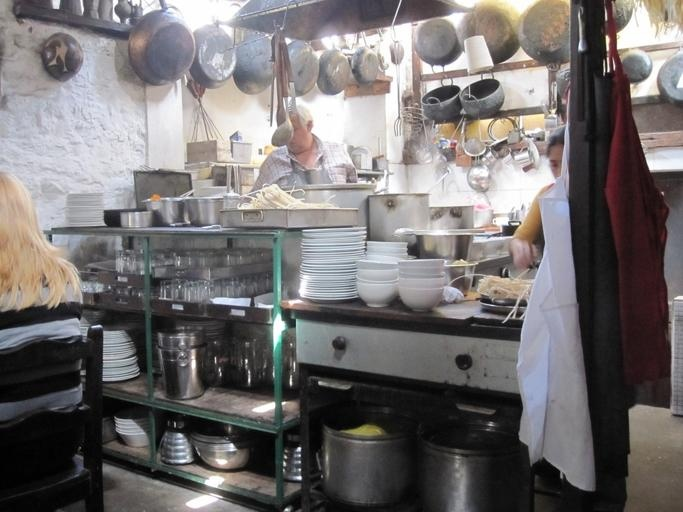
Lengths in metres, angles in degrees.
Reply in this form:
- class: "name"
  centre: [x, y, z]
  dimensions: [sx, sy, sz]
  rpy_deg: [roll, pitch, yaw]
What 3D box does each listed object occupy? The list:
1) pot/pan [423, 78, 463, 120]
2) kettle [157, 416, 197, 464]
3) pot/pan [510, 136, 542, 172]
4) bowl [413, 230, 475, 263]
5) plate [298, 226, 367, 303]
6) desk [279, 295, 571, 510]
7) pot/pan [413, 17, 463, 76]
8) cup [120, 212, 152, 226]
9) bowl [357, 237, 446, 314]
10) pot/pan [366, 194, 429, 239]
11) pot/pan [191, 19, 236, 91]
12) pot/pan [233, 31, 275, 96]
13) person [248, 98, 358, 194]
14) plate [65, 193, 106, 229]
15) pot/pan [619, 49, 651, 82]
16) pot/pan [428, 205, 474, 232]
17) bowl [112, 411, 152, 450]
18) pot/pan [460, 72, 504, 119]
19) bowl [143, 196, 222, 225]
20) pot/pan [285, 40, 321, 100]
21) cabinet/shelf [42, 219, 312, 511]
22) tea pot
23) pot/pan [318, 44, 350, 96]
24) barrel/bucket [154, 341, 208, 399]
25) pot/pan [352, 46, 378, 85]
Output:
- class: "pot/pan"
  centre: [0.992, -1.513, 6.063]
  dimensions: [0.353, 0.290, 0.450]
  rpy_deg: [-2, 39, 22]
- class: "kettle"
  centre: [-0.956, 1.084, 3.730]
  dimensions: [0.238, 0.275, 0.242]
  rpy_deg: [-1, -1, 8]
- class: "pot/pan"
  centre: [1.692, -0.956, 5.663]
  dimensions: [0.204, 0.364, 0.366]
  rpy_deg: [-17, -22, 8]
- class: "bowl"
  centre: [0.491, -0.058, 2.979]
  dimensions: [0.184, 0.093, 0.184]
  rpy_deg: [0, 0, 0]
- class: "plate"
  centre: [-0.043, 0.049, 2.929]
  dimensions: [0.325, 0.299, 0.323]
  rpy_deg: [-2, -4, 45]
- class: "desk"
  centre: [0.432, 0.439, 2.970]
  dimensions: [1.127, 1.121, 0.844]
  rpy_deg: [-1, 0, 38]
- class: "pot/pan"
  centre: [0.776, -1.753, 5.000]
  dimensions: [0.388, 0.367, 0.304]
  rpy_deg: [0, 5, 12]
- class: "cup"
  centre: [-1.277, -0.215, 3.826]
  dimensions: [0.113, 0.066, 0.115]
  rpy_deg: [-1, 3, 0]
- class: "bowl"
  centre: [0.278, 0.085, 2.801]
  dimensions: [0.378, 0.208, 0.276]
  rpy_deg: [-1, -1, 33]
- class: "pot/pan"
  centre: [0.282, -0.218, 3.211]
  dimensions: [0.252, 0.279, 0.249]
  rpy_deg: [2, 2, 10]
- class: "pot/pan"
  centre: [-0.996, -1.581, 4.794]
  dimensions: [0.358, 0.501, 0.315]
  rpy_deg: [-2, 6, -18]
- class: "pot/pan"
  centre: [-0.671, -1.519, 4.924]
  dimensions: [0.392, 0.370, 0.259]
  rpy_deg: [4, 7, 41]
- class: "person"
  centre: [-0.298, -0.793, 4.492]
  dimensions: [0.751, 0.602, 1.025]
  rpy_deg: [0, 5, 5]
- class: "plate"
  centre: [-1.656, -0.292, 3.983]
  dimensions: [0.212, 0.214, 0.219]
  rpy_deg: [0, 4, 1]
- class: "pot/pan"
  centre: [2.505, -1.631, 5.243]
  dimensions: [0.204, 0.297, 0.324]
  rpy_deg: [3, 6, 32]
- class: "pot/pan"
  centre: [0.589, -0.207, 3.283]
  dimensions: [0.257, 0.119, 0.119]
  rpy_deg: [-1, 5, -7]
- class: "bowl"
  centre: [-1.314, 1.095, 3.915]
  dimensions: [0.230, 0.151, 0.212]
  rpy_deg: [0, 2, 0]
- class: "pot/pan"
  centre: [1.389, -1.549, 5.976]
  dimensions: [0.362, 0.280, 0.465]
  rpy_deg: [7, 47, 31]
- class: "bowl"
  centre: [-0.948, -0.277, 3.760]
  dimensions: [0.267, 0.125, 0.365]
  rpy_deg: [-1, -5, -32]
- class: "pot/pan"
  centre: [-0.300, -1.474, 4.905]
  dimensions: [0.181, 0.426, 0.449]
  rpy_deg: [0, 5, 12]
- class: "cabinet/shelf"
  centre: [-0.842, 0.628, 3.332]
  dimensions: [1.429, 1.294, 0.538]
  rpy_deg: [3, 6, 38]
- class: "tea pot"
  centre: [-0.514, 0.588, 3.619]
  dimensions: [0.514, 0.374, 0.312]
  rpy_deg: [2, -4, -7]
- class: "pot/pan"
  centre: [-0.054, -1.562, 5.212]
  dimensions: [0.366, 0.364, 0.192]
  rpy_deg: [-6, 7, -42]
- class: "barrel/bucket"
  centre: [-0.924, 0.642, 3.611]
  dimensions: [0.289, 0.309, 0.273]
  rpy_deg: [0, 1, 0]
- class: "pot/pan"
  centre: [0.197, -1.673, 5.449]
  dimensions: [0.246, 0.296, 0.110]
  rpy_deg: [3, 1, -36]
